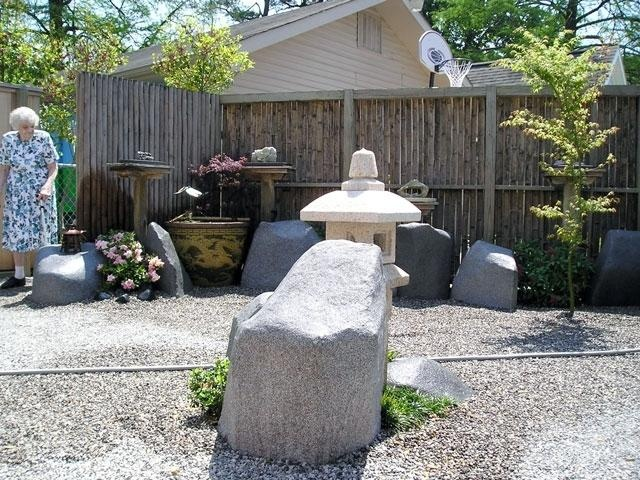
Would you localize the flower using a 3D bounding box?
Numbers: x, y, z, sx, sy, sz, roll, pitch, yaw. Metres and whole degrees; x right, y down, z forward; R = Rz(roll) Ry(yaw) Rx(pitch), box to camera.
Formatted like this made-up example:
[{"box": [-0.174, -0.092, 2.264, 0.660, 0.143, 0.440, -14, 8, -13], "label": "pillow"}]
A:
[{"box": [-1.573, -0.738, 9.461, 0.890, 1.201, 0.857, 0, 4, -6], "label": "flower"}]

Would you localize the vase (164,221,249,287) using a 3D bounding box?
[{"box": [-1.517, 0.162, 8.650, 0.817, 0.749, 0.918, -1, -1, 10], "label": "vase"}]
